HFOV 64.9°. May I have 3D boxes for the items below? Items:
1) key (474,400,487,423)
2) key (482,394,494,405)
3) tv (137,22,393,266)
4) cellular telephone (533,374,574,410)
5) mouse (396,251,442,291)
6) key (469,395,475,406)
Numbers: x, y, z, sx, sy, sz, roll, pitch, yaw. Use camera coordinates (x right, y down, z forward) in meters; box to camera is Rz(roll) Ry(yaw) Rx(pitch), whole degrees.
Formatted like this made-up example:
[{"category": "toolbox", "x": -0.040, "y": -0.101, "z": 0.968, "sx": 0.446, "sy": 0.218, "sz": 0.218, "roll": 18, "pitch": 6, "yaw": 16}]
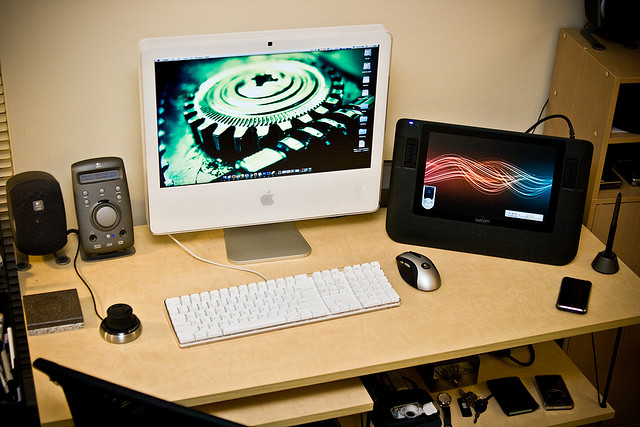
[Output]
[{"category": "key", "x": 0.509, "y": 0.625, "z": 1.592, "sx": 0.035, "sy": 0.060, "sz": 0.022, "roll": 33, "pitch": -11, "yaw": 5}, {"category": "key", "x": 0.544, "y": 0.599, "z": 1.625, "sx": 0.011, "sy": 0.015, "sz": 0.048, "roll": -23, "pitch": 12, "yaw": 46}, {"category": "tv", "x": -0.182, "y": -0.228, "z": 1.579, "sx": 0.770, "sy": 0.659, "sz": 0.243, "roll": -7, "pitch": 35, "yaw": -13}, {"category": "cellular telephone", "x": 0.770, "y": 0.569, "z": 1.643, "sx": 0.109, "sy": 0.114, "sz": 0.028, "roll": -8, "pitch": 11, "yaw": 19}, {"category": "mouse", "x": 0.312, "y": 0.166, "z": 1.590, "sx": 0.080, "sy": 0.051, "sz": 0.135, "roll": -12, "pitch": 40, "yaw": -27}, {"category": "key", "x": 0.489, "y": 0.602, "z": 1.619, "sx": 0.006, "sy": 0.005, "sz": 0.040, "roll": -22, "pitch": 36, "yaw": 1}]
